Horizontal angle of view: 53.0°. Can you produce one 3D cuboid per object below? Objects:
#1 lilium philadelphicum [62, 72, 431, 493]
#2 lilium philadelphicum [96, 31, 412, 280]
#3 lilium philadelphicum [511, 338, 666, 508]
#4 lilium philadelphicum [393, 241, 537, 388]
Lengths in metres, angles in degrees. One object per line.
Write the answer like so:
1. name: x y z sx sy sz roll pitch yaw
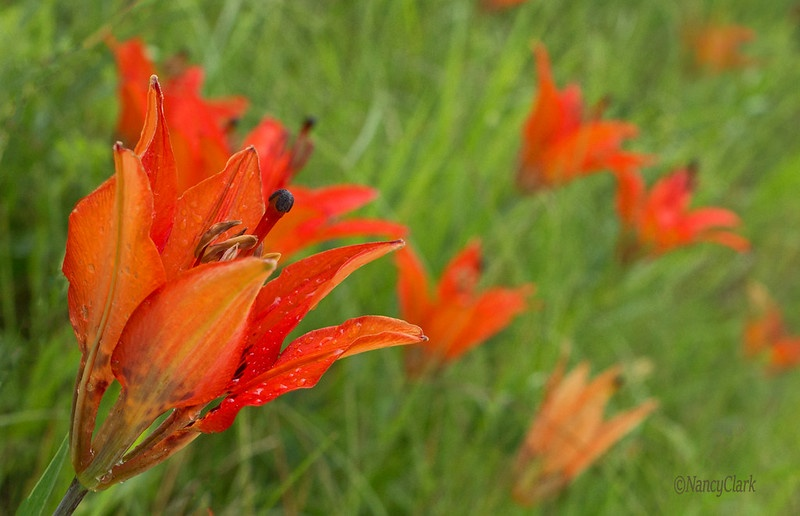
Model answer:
1. lilium philadelphicum: -0.089 0.026 0.454 0.202 0.220 0.083 14 14 -4
2. lilium philadelphicum: -0.130 -0.085 0.714 0.225 0.122 0.221 34 -3 23
3. lilium philadelphicum: 0.129 0.106 0.551 0.071 0.105 0.041 40 13 8
4. lilium philadelphicum: 0.046 0.037 0.661 0.106 0.067 0.106 1 18 -28
